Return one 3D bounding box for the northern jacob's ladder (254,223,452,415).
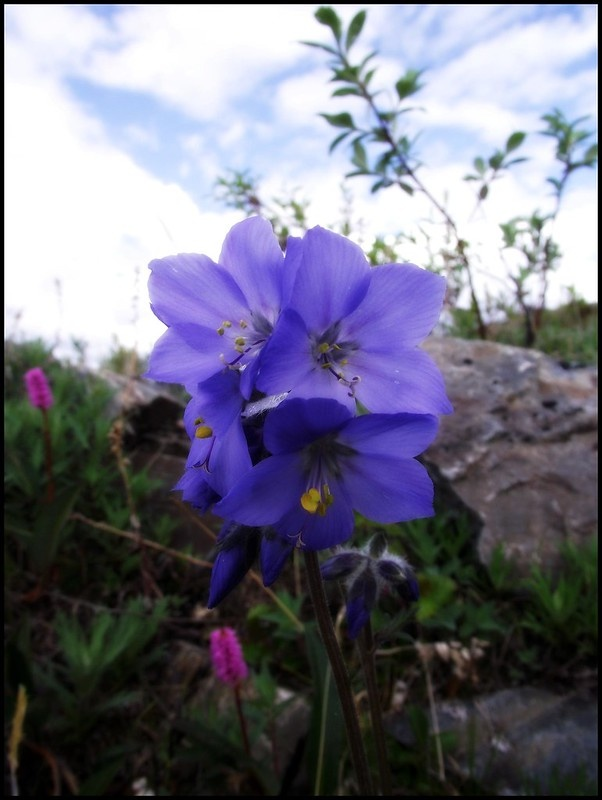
[{"bbox_3d":[0.073,-0.099,0.849,0.236,0.258,0.118,0,8,-18],"label":"northern jacob's ladder"}]

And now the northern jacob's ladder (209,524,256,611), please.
[{"bbox_3d":[-0.095,0.222,0.894,0.048,0.140,0.054,24,-18,-27],"label":"northern jacob's ladder"}]

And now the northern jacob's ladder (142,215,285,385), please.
[{"bbox_3d":[-0.123,-0.133,0.888,0.230,0.206,0.115,-11,-15,23],"label":"northern jacob's ladder"}]

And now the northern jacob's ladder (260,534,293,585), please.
[{"bbox_3d":[-0.038,0.229,0.895,0.046,0.067,0.025,19,-23,-17],"label":"northern jacob's ladder"}]
